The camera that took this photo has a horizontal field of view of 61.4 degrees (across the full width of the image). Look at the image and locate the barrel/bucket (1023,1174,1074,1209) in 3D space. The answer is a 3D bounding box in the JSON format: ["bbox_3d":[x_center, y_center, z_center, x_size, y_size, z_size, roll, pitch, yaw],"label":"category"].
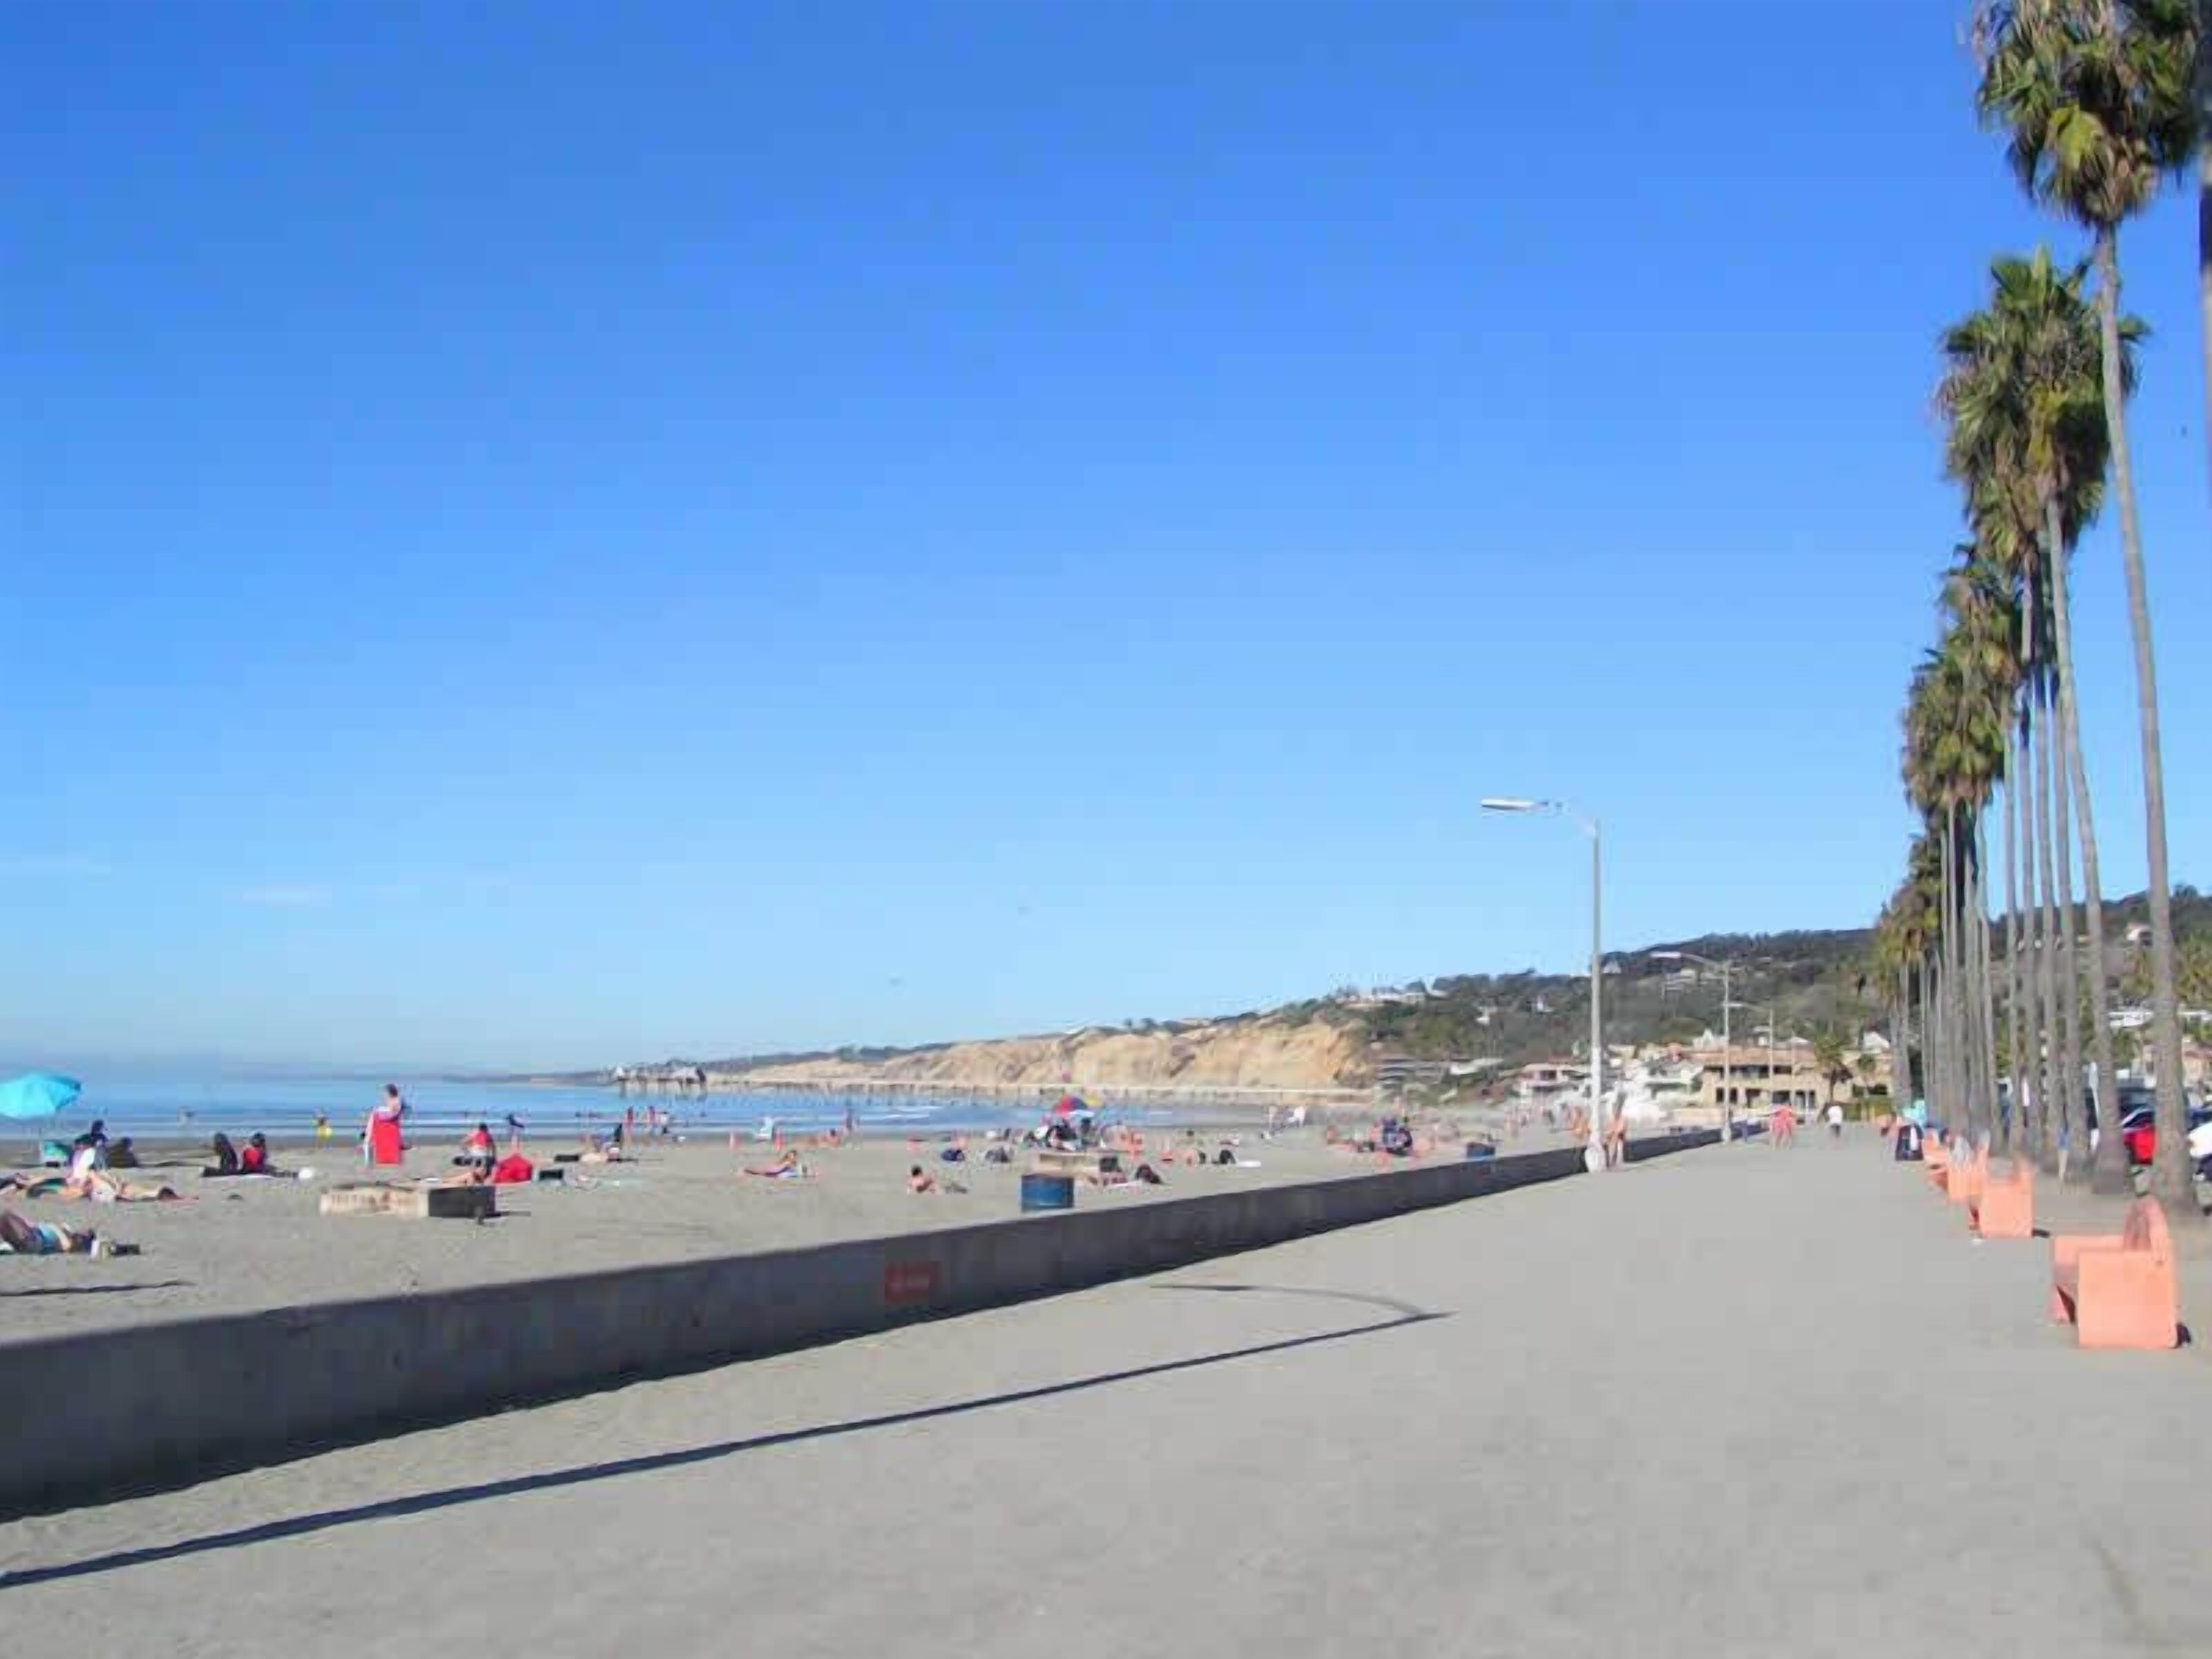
[{"bbox_3d":[-1.231,7.086,36.308,0.818,0.561,0.787,0,-5,0],"label":"barrel/bucket"}]

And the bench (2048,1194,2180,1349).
[{"bbox_3d":[9.157,4.016,16.832,0.848,1.290,0.775,-7,-12,41],"label":"bench"}]
